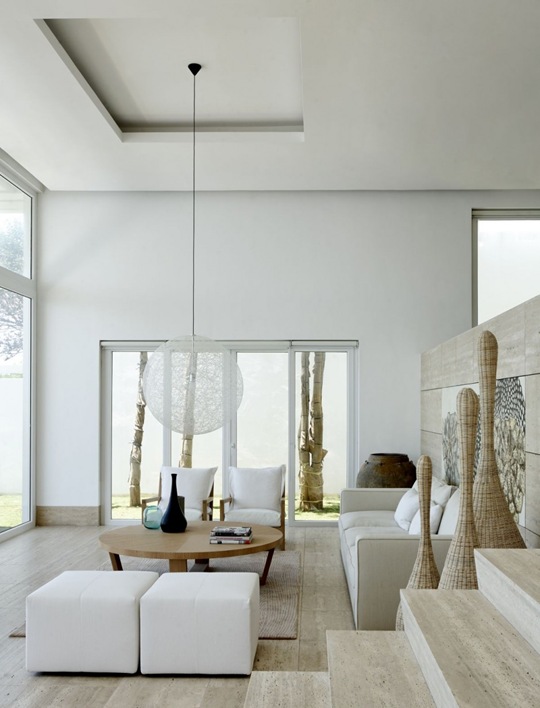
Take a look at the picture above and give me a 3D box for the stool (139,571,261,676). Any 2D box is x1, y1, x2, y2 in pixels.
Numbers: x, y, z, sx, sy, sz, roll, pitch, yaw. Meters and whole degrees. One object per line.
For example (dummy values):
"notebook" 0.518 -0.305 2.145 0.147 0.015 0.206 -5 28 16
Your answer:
"stool" -0.327 1.319 3.063 0.428 0.306 0.442 0 -1 3

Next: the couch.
"couch" 0.902 1.298 4.291 0.777 0.754 2.340 0 -5 6

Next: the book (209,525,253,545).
"book" -0.261 1.225 4.128 0.272 0.087 0.270 0 -5 2

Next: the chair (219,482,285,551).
"chair" -0.103 1.451 5.441 0.526 0.776 0.528 -2 -15 8

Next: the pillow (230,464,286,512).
"pillow" -0.113 1.273 5.685 0.401 0.371 0.141 0 -25 7

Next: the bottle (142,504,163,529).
"bottle" -0.869 1.239 4.616 0.158 0.229 0.168 0 -10 0

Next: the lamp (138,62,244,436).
"lamp" -0.707 -0.719 5.065 0.632 2.713 1.736 1 -5 -11

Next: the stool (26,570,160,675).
"stool" -0.902 1.330 3.067 0.449 0.326 0.468 0 -1 0

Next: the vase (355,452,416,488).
"vase" 1.152 1.072 5.844 0.391 0.340 0.359 -1 -5 20
